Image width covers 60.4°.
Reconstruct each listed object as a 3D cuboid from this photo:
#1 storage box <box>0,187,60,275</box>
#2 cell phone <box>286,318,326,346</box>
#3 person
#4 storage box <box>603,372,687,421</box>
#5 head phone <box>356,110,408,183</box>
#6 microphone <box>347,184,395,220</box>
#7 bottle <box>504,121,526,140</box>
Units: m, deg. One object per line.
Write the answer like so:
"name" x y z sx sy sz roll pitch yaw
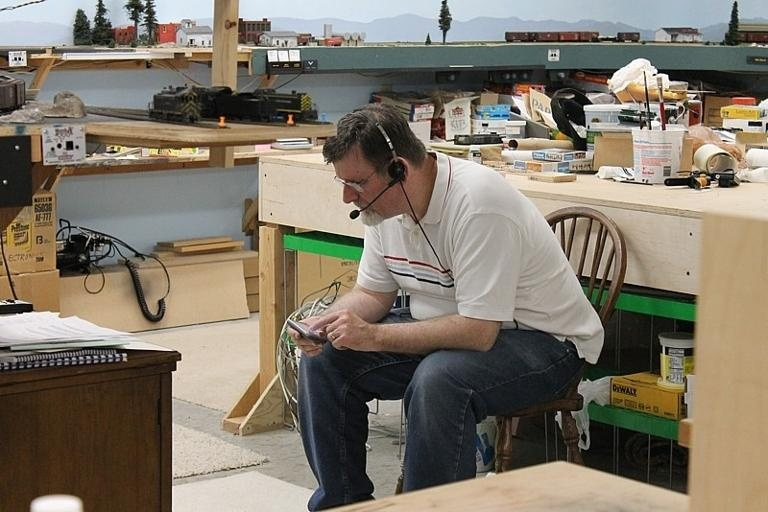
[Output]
"storage box" -2.009 -0.125 3.742 0.332 0.487 0.585 -3 4 -27
"cell phone" -0.261 0.245 2.181 0.114 0.026 0.067 28 9 30
"person" 0.305 0.194 2.804 1.430 1.806 1.048 0 -5 -18
"storage box" 0.909 0.492 2.277 0.152 0.053 0.149 8 8 41
"head phone" 0.022 -0.339 2.092 0.069 0.193 0.149 -36 -6 9
"microphone" -0.038 -0.176 2.090 0.151 0.023 0.021 -40 -2 19
"bottle" 0.703 -0.676 3.575 0.136 0.094 0.134 0 2 0
